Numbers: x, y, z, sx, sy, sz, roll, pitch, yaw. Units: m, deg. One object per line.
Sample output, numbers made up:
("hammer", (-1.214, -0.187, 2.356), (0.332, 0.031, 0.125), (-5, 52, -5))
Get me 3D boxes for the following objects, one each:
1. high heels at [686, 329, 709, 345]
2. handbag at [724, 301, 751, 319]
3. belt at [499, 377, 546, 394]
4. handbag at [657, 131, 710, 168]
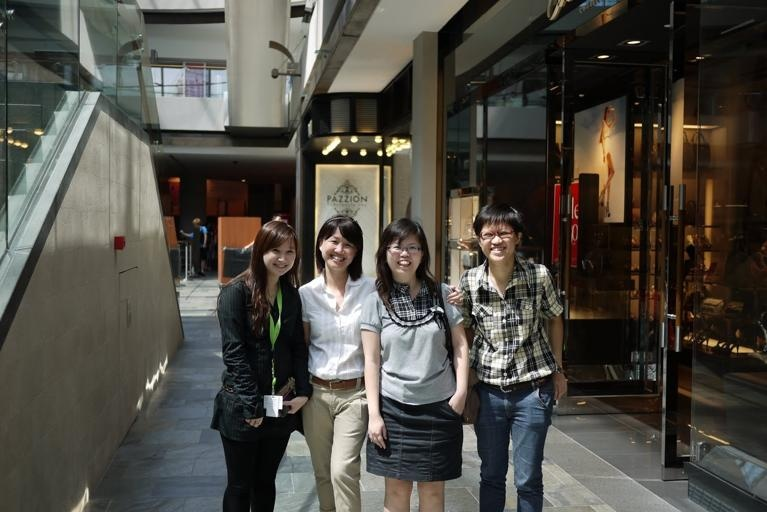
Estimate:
("high heels", (2.300, 0.595, 4.150), (0.059, 0.076, 0.122), (-2, -4, -21))
("handbag", (2.371, 0.354, 3.785), (0.097, 0.027, 0.091), (-3, 36, 17))
("belt", (0.852, 0.777, 3.412), (0.144, 0.046, 0.130), (-6, -6, -27))
("handbag", (2.271, -0.796, 4.298), (0.210, 0.392, 0.270), (-2, 1, 4))
